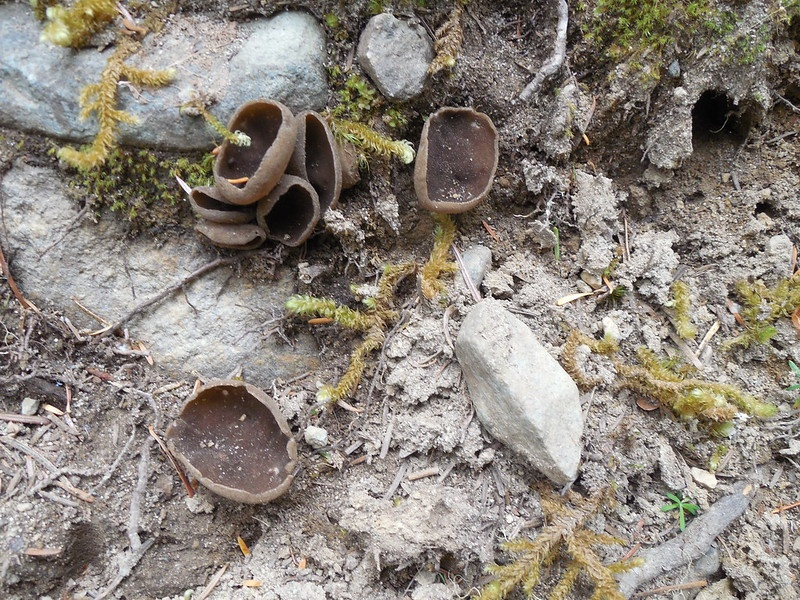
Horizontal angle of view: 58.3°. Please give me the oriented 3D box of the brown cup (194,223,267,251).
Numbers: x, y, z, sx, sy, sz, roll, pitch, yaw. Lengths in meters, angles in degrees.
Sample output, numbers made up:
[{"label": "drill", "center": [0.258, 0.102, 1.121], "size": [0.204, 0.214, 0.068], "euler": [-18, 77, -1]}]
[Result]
[{"label": "brown cup", "center": [-0.958, -0.357, 4.131], "size": [0.268, 0.088, 0.194], "euler": [5, 65, -3]}]

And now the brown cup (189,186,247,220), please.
[{"label": "brown cup", "center": [-1.019, -0.533, 4.033], "size": [0.286, 0.109, 0.182], "euler": [8, 80, -11]}]

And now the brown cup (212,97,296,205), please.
[{"label": "brown cup", "center": [-0.770, -0.808, 4.070], "size": [0.412, 0.235, 0.620], "euler": [23, 90, 14]}]

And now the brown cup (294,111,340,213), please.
[{"label": "brown cup", "center": [-0.456, -0.777, 4.038], "size": [0.272, 0.172, 0.546], "euler": [-6, 100, -2]}]
